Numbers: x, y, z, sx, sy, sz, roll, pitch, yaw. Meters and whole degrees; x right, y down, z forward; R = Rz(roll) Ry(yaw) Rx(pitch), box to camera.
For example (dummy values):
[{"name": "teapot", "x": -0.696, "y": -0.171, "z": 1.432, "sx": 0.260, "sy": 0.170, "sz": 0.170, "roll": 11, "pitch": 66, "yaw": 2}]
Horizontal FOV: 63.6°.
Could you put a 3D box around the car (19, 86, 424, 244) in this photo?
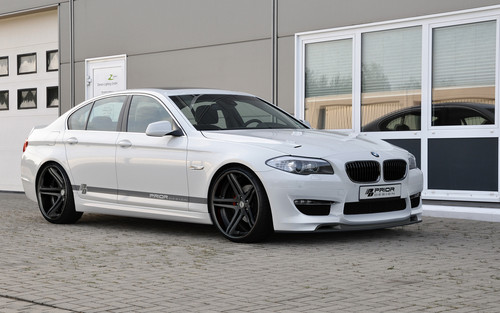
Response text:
[{"name": "car", "x": -1.085, "y": 0.020, "z": 6.461, "sx": 6.052, "sy": 1.434, "sz": 2.547, "roll": 0, "pitch": 0, "yaw": 34}]
